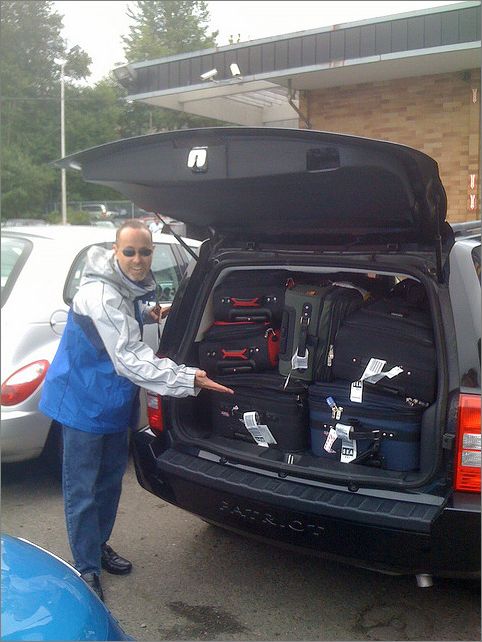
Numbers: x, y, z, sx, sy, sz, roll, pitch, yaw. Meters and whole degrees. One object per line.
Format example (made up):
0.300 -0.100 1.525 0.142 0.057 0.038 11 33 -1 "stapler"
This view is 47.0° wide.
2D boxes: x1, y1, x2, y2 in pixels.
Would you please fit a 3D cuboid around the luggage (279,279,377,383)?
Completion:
0.404 0.052 2.628 0.288 0.377 0.406 10 10 43 "luggage"

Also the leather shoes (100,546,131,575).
-0.575 1.077 2.520 0.189 0.070 0.073 3 3 45 "leather shoes"

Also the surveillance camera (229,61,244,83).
-0.090 -4.448 9.901 0.317 0.446 0.112 -1 -2 -5 "surveillance camera"

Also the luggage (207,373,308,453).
0.084 0.397 2.490 0.466 0.283 0.317 7 15 44 "luggage"

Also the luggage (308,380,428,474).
0.493 0.409 2.212 0.468 0.301 0.289 5 5 39 "luggage"

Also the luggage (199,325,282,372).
-0.005 0.135 2.699 0.303 0.194 0.266 -2 2 22 "luggage"
